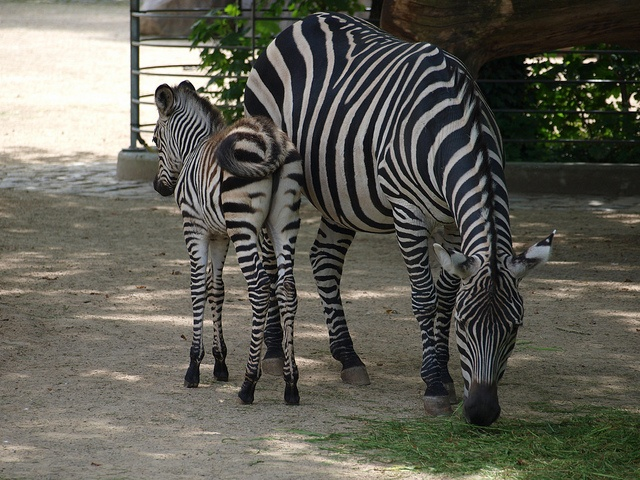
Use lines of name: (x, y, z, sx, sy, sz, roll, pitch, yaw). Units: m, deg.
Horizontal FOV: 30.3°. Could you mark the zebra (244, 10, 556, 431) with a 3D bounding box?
zebra: (0.801, -0.295, 10.402, 1.645, 2.765, 5.000, -3, 18, -18)
